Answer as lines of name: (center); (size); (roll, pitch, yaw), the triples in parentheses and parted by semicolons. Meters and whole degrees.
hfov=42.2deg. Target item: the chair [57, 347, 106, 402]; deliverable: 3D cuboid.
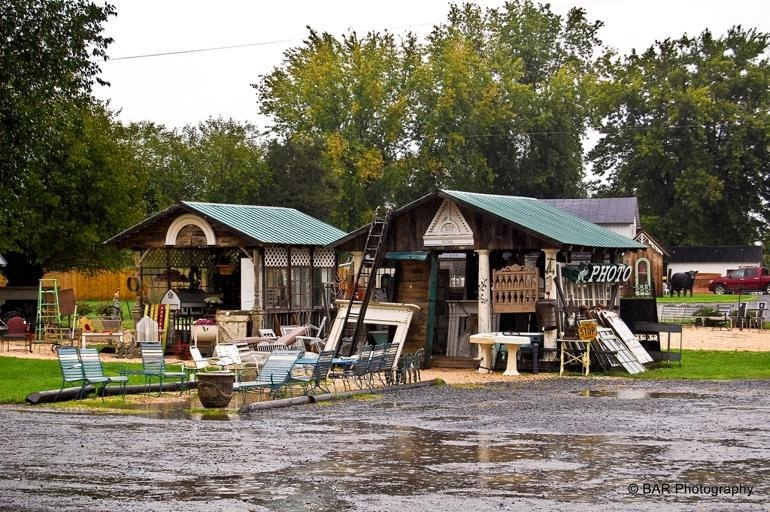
chair: (-7.413, 2.865, 24.322); (1.149, 1.207, 1.184); (4, -1, -41)

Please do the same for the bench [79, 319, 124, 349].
bench: (-9.690, 2.606, 33.917); (1.629, 0.986, 1.179); (1, -4, -1)

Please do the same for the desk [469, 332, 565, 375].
desk: (3.490, 2.901, 29.756); (1.301, 0.854, 1.868); (6, -4, -32)

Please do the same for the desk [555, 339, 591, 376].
desk: (5.597, 3.080, 29.775); (1.361, 0.971, 1.406); (-3, -9, 32)

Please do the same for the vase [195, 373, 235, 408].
vase: (-4.052, 3.254, 23.866); (1.004, 0.727, 1.030); (1, -9, -4)

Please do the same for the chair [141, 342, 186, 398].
chair: (-5.624, 2.840, 25.320); (0.777, 1.097, 1.308); (5, 0, -42)

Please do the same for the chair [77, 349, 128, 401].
chair: (-6.929, 2.946, 24.434); (0.956, 1.258, 0.883); (-3, -4, 28)
